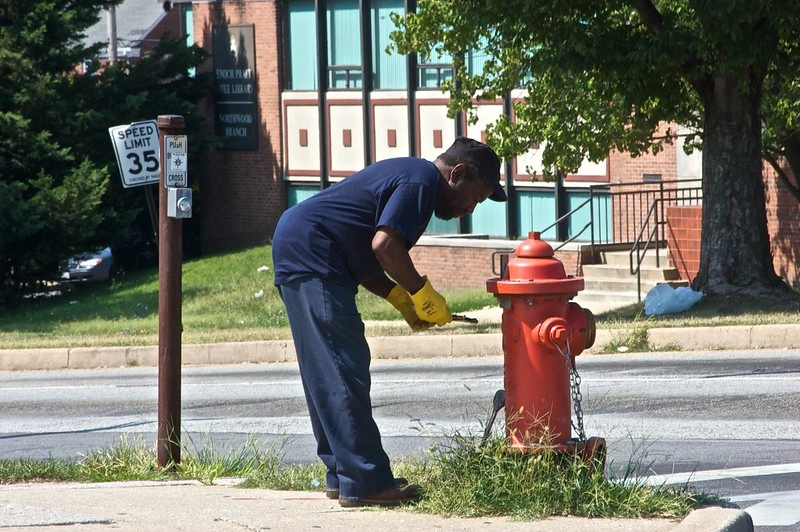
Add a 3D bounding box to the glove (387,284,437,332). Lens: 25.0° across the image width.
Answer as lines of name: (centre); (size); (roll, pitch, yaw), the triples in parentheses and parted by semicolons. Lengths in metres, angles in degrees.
glove: (-0.043, 0.601, 26.417); (0.193, 0.623, 0.612); (-18, -8, 33)
